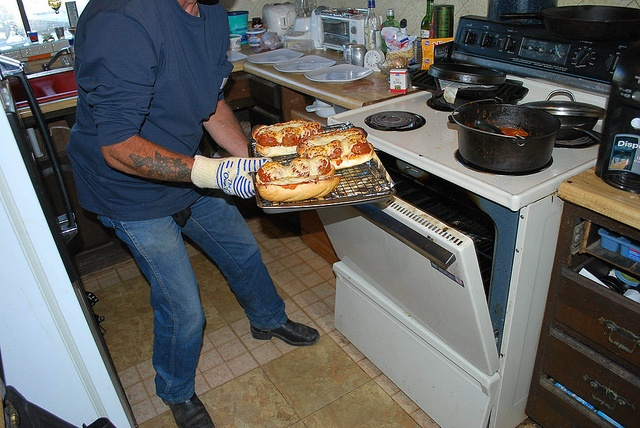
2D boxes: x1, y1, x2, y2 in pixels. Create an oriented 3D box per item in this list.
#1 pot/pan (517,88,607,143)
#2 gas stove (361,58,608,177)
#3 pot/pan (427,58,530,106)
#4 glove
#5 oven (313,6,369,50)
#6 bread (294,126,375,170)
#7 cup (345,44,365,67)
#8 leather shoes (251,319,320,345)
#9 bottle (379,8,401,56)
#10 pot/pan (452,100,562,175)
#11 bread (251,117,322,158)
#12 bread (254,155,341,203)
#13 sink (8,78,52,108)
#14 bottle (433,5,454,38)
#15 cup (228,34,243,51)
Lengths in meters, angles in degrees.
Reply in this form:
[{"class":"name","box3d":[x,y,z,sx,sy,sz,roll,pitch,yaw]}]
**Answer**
[{"class":"pot/pan","box3d":[0.983,-0.398,1.638,0.195,0.135,0.327,11,20,32]},{"class":"gas stove","box3d":[0.776,-0.515,1.832,0.601,0.118,0.819,21,36,40]},{"class":"pot/pan","box3d":[0.715,-0.585,1.863,0.338,0.088,0.248,13,36,15]},{"class":"glove","box3d":[-0.336,-0.148,1.613,0.283,0.079,0.154,12,34,10]},{"class":"oven","box3d":[0.159,-1.339,2.981,0.228,0.237,0.389,-26,44,-30]},{"class":"bread","box3d":[0.062,-0.275,1.664,0.218,0.064,0.214,-20,36,-26]},{"class":"cup","box3d":[0.222,-1.089,2.826,0.177,0.125,0.113,26,40,35]},{"class":"leather shoes","box3d":[-0.176,0.690,2.477,0.426,0.166,0.157,2,35,6]},{"class":"bottle","box3d":[0.472,-1.224,2.772,0.118,0.267,0.421,1,30,8]},{"class":"pot/pan","box3d":[0.663,-0.291,1.557,0.318,0.126,0.349,-31,42,-33]},{"class":"bread","box3d":[-0.140,-0.342,1.808,0.237,0.076,0.186,-15,33,-20]},{"class":"bread","box3d":[-0.089,-0.130,1.515,0.299,0.091,0.198,-6,29,-5]},{"class":"sink","box3d":[-1.737,-0.749,2.493,0.209,0.157,0.297,-19,33,-27]},{"class":"bottle","box3d":[0.733,-1.149,2.466,0.138,0.172,0.103,24,39,38]},{"class":"cup","box3d":[-0.689,-1.406,3.417,0.130,0.105,0.137,1,42,-1]}]
